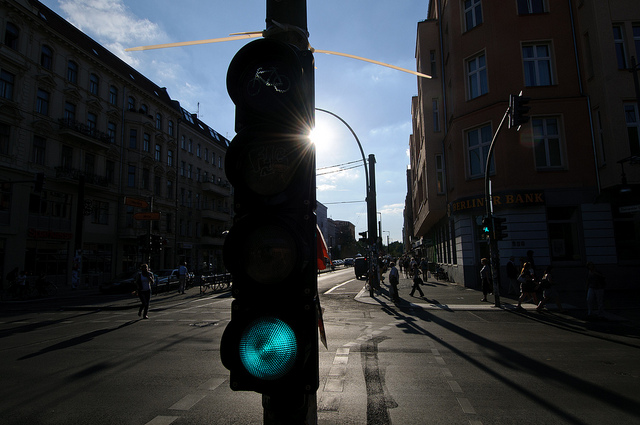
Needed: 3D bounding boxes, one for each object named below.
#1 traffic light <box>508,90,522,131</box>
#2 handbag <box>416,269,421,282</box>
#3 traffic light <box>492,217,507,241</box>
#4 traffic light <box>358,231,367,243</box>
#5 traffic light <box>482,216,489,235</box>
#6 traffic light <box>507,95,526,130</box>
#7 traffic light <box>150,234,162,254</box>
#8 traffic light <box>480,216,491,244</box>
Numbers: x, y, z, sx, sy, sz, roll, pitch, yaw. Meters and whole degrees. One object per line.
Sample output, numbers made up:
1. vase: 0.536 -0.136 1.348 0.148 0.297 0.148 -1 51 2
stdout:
1. traffic light: 8.335 -4.383 18.126 0.584 1.391 0.879 -6 -9 25
2. handbag: 5.633 3.561 24.147 0.137 0.677 0.649 -4 -8 13
3. traffic light: 8.585 0.739 20.285 0.701 1.098 0.457 3 -9 -34
4. traffic light: 2.818 1.572 27.372 0.456 0.649 0.770 -3 -8 4
5. traffic light: 8.001 0.636 20.474 0.206 0.782 0.342 -3 -8 9
6. traffic light: 8.374 -4.410 18.110 0.639 1.435 0.880 -6 -9 24
7. traffic light: -10.237 1.934 26.449 0.840 1.343 0.907 1 -7 -24
8. traffic light: 8.106 0.808 20.650 0.297 1.226 0.801 -5 -8 21
